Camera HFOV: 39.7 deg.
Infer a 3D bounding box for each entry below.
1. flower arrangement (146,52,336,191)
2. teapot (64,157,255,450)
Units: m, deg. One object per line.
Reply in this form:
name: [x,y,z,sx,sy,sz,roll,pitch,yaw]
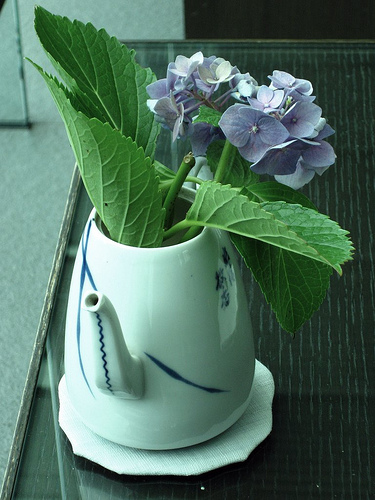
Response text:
flower arrangement: [0.029,-0.063,0.245,0.086,0.046,0.071,32,35,14]
teapot: [-0.002,0.019,0.308,0.091,0.104,0.149,2,24,10]
